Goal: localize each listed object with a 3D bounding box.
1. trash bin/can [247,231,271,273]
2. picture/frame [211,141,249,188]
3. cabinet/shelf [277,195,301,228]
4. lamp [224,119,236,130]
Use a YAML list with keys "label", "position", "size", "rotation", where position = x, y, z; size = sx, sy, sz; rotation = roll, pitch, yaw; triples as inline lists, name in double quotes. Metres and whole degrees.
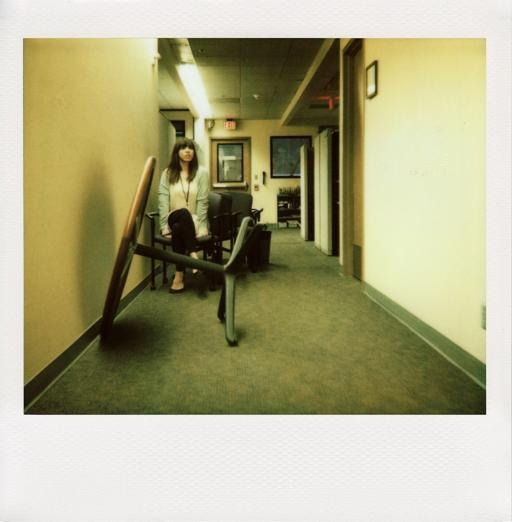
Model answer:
- label: "trash bin/can"
  position: [0.049, -0.114, 4.603]
  size: [0.266, 0.433, 0.332]
  rotation: [-2, 11, -7]
- label: "picture/frame"
  position: [-0.595, -2.209, 10.566]
  size: [0.893, 0.157, 1.437]
  rotation: [-2, -39, -6]
- label: "cabinet/shelf"
  position: [0.719, -1.136, 10.518]
  size: [0.585, 0.747, 0.217]
  rotation: [0, -1, -1]
- label: "lamp"
  position: [-0.551, -2.958, 10.267]
  size: [0.241, 0.230, 0.353]
  rotation: [0, 8, 3]
